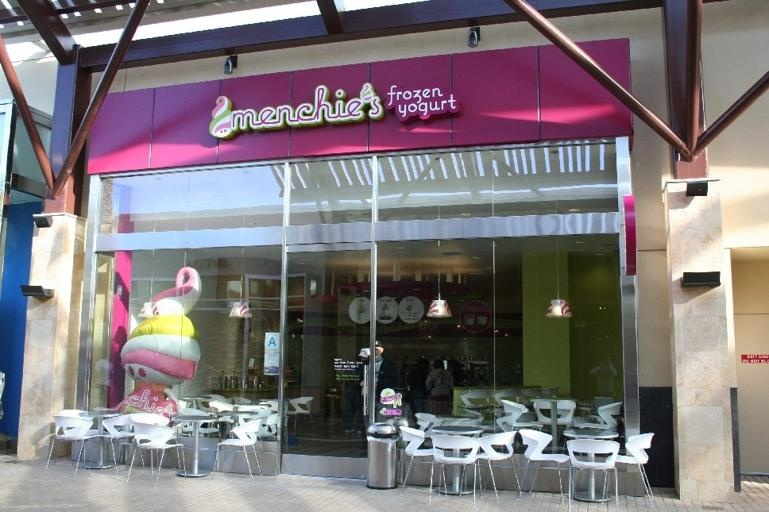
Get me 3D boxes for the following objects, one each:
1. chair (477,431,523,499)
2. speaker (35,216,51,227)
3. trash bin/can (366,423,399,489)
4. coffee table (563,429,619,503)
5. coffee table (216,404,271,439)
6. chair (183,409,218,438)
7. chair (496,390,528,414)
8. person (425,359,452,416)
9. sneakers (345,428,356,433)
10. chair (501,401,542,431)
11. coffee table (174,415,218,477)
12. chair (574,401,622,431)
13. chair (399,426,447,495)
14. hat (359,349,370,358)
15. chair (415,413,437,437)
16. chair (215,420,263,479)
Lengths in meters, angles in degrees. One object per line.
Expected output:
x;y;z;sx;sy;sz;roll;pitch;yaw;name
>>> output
2.275;4.020;13.553;0.742;1.237;1.140;-2;-13;11;chair
-8.012;-0.821;16.375;0.301;0.286;0.205;4;12;3;speaker
-0.024;3.999;13.993;0.627;1.257;0.320;1;-13;0;trash bin/can
3.942;3.985;13.236;1.155;1.707;1.255;-2;-9;18;coffee table
-3.011;3.499;15.119;0.776;0.505;0.802;8;-12;-22;coffee table
-4.103;3.618;15.426;0.610;0.841;0.606;4;-31;-8;chair
2.523;2.925;13.994;0.520;0.562;0.476;-4;-2;9;chair
1.132;2.659;14.269;0.533;1.096;0.256;0;-13;2;person
-0.707;3.639;14.617;0.200;0.140;0.068;-3;-5;11;sneakers
2.748;3.179;14.089;0.683;0.697;0.556;-3;-5;8;chair
-3.936;4.015;15.025;1.054;1.269;1.045;-1;-3;15;coffee table
4.242;3.156;13.676;0.608;0.468;0.589;0;-11;20;chair
0.688;3.962;13.682;1.052;1.526;1.168;-3;-12;10;chair
-0.412;2.040;14.721;0.159;0.202;0.085;4;-7;8;hat
0.840;3.429;14.324;0.364;0.479;0.456;-12;-12;20;chair
-3.270;4.142;14.945;1.133;1.576;1.139;4;-21;-6;chair
